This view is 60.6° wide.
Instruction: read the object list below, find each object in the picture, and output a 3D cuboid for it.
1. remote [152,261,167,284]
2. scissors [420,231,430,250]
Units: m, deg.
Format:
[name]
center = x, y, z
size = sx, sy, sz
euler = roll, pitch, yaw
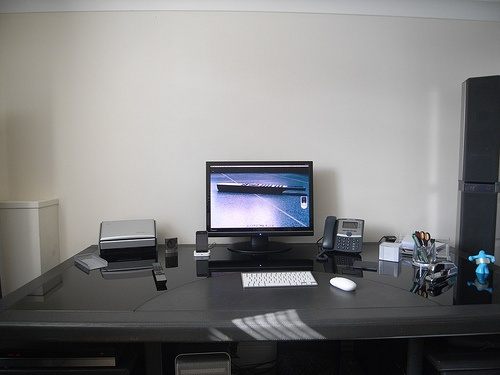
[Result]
[remote]
center = -0.505, 0.477, 2.433
size = 0.044, 0.052, 0.194
euler = 0, 14, -15
[scissors]
center = 1.065, 0.318, 2.592
size = 0.048, 0.096, 0.018
euler = 7, -24, 11
